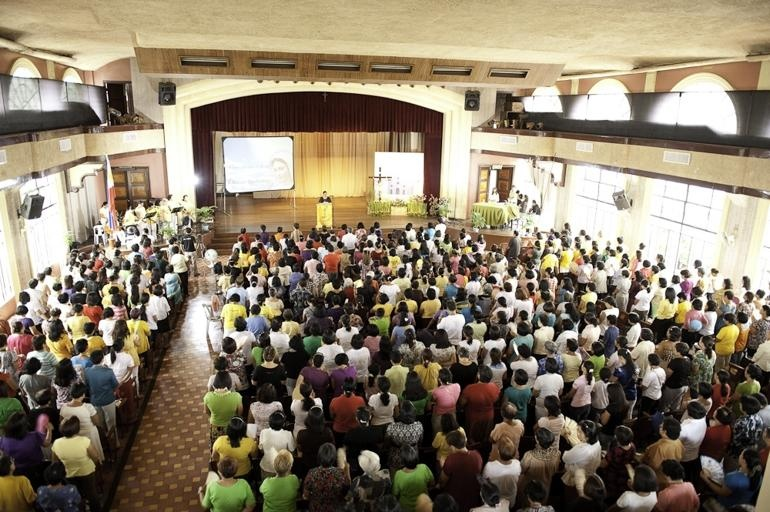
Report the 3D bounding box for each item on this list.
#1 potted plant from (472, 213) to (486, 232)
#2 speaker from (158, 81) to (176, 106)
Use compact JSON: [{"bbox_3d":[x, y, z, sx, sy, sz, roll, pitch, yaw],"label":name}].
[{"bbox_3d":[3.621,-1.306,19.271,0.624,0.635,0.640,0,11,-2],"label":"potted plant"},{"bbox_3d":[-6.808,-5.073,15.531,0.448,0.685,0.842,-3,10,-25],"label":"speaker"}]
